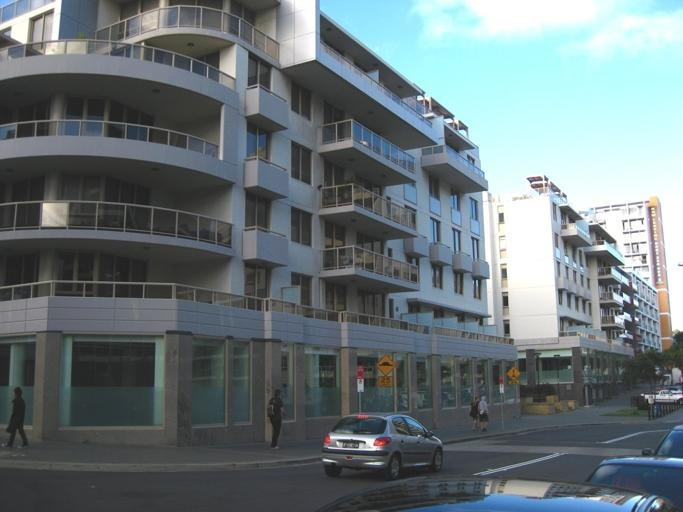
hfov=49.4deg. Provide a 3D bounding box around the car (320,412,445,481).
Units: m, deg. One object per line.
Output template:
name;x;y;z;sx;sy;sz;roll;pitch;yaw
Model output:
car;1.327;5.751;22.579;3.517;1.843;1.612;6;-11;-37
